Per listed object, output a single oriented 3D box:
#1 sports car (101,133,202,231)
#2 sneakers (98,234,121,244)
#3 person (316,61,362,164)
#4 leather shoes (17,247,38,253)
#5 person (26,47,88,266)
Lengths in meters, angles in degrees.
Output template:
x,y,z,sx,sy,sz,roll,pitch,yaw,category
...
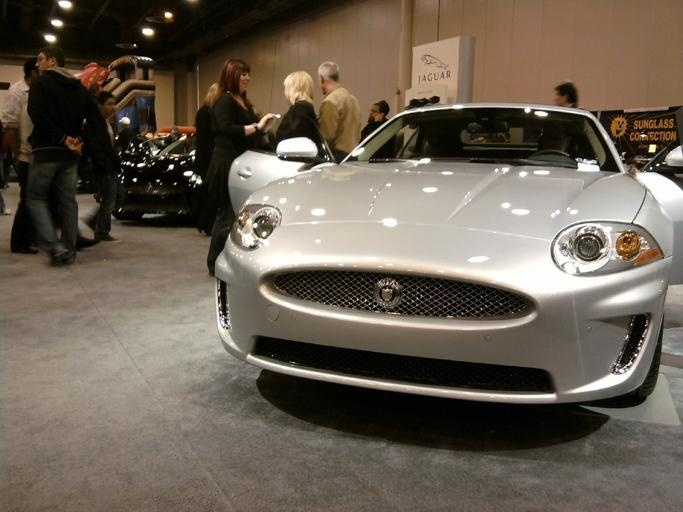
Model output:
x,y,z,sx,sy,sz,roll,pitch,yaw,category
-2.892,-1.160,7.569,1.241,0.846,2.019,2,23,-1,sports car
-3.132,-0.231,6.404,0.279,0.138,0.102,1,14,-18,sneakers
-0.055,-1.380,5.490,0.406,1.501,0.556,8,23,25,person
-3.666,-0.067,5.551,0.144,0.043,0.087,9,11,-29,leather shoes
-2.987,-0.958,5.063,0.478,2.011,0.579,4,10,18,person
